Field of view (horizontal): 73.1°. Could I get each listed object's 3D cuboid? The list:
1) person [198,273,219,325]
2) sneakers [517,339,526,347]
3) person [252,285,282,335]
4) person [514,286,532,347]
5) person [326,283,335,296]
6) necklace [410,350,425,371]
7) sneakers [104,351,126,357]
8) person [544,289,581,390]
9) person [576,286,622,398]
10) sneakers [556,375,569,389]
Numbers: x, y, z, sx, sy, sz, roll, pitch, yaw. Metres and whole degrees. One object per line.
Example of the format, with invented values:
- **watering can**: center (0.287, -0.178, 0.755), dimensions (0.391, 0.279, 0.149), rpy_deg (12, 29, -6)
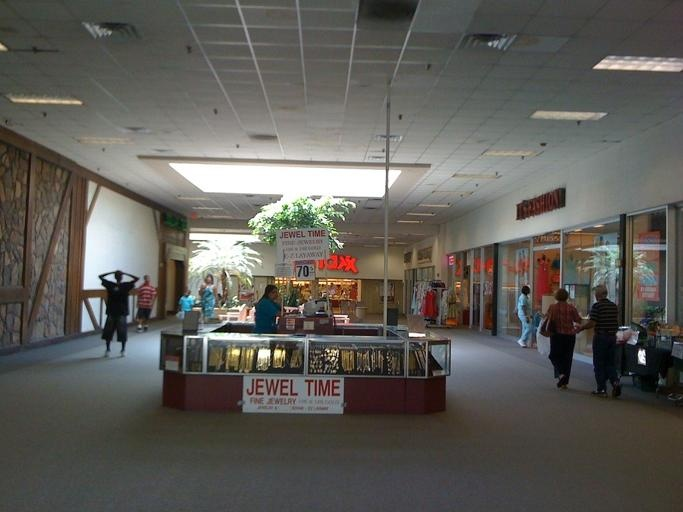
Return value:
- **person**: center (-3.750, 1.112, 13.026), dimensions (0.455, 1.378, 1.666), rpy_deg (1, -5, -17)
- **sneakers**: center (5.265, 2.483, 13.379), dimensions (0.222, 0.224, 0.435), rpy_deg (-2, -5, 17)
- **person**: center (-1.155, 0.809, 7.192), dimensions (0.399, 0.765, 0.698), rpy_deg (0, -5, -1)
- **person**: center (5.344, 1.709, 13.457), dimensions (0.395, 1.793, 0.800), rpy_deg (-2, -5, 22)
- **person**: center (-0.587, 2.037, 28.851), dimensions (0.378, 0.848, 0.606), rpy_deg (-1, -5, 13)
- **necklace**: center (1.031, 1.400, 6.242), dimensions (0.271, 0.265, 0.144), rpy_deg (0, 1, -1)
- **sneakers**: center (-4.994, 2.151, 10.178), dimensions (0.431, 0.170, 0.135), rpy_deg (-2, -1, 9)
- **person**: center (3.883, 1.417, 8.082), dimensions (0.572, 1.693, 0.761), rpy_deg (-3, -6, 27)
- **person**: center (4.245, 1.364, 7.539), dimensions (0.508, 1.790, 0.303), rpy_deg (-2, -6, 26)
- **sneakers**: center (3.814, 2.181, 7.969), dimensions (0.130, 0.134, 0.344), rpy_deg (3, -39, 4)
